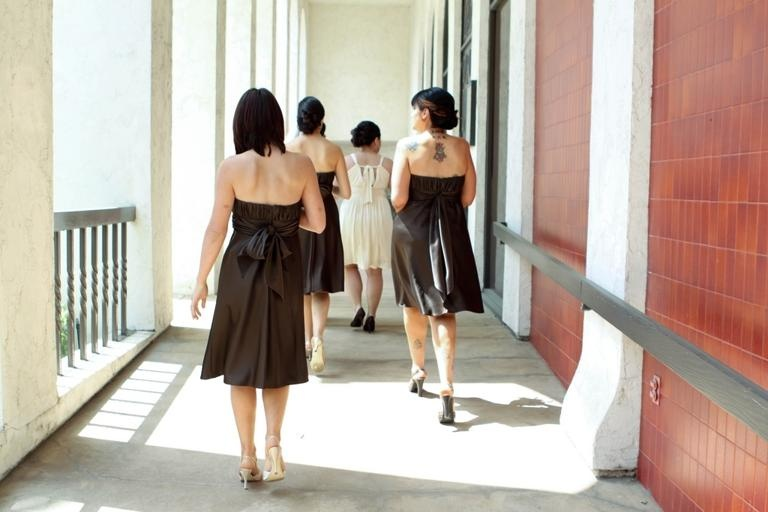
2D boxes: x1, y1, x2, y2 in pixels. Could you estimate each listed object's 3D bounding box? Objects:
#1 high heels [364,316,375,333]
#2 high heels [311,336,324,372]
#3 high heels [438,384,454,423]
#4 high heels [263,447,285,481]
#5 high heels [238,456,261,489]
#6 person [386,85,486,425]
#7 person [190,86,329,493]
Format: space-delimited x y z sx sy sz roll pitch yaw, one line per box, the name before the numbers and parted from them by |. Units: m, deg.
high heels | -0.173 0.737 6.526 0.116 0.184 0.109 0 9 -3
high heels | -0.562 0.850 5.146 0.098 0.326 0.142 -2 46 -1
high heels | 0.457 1.064 4.297 0.110 0.263 0.150 2 9 8
high heels | -0.645 1.221 3.464 0.123 0.258 0.119 -1 9 -11
high heels | -0.803 1.273 3.578 0.110 0.178 0.357 -2 -7 -2
person | 0.394 -0.082 4.622 0.771 2.428 0.680 7 10 38
person | -0.735 0.184 3.481 0.763 2.299 0.468 -1 8 -8
